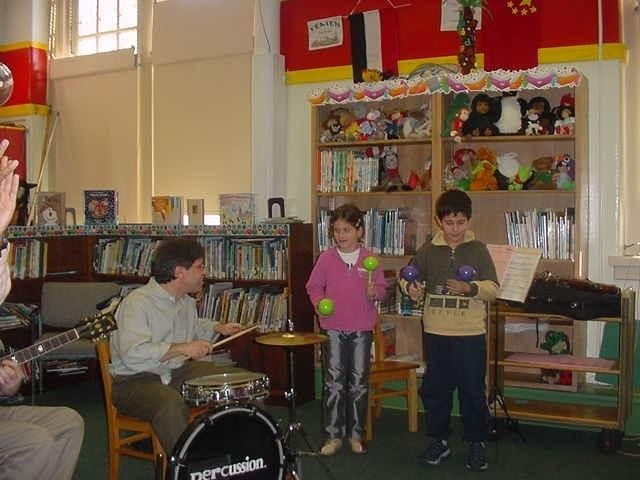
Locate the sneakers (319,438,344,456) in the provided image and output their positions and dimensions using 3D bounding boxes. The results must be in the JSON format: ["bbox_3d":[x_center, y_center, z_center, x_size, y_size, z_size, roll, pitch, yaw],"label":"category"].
[{"bbox_3d":[0.082,1.490,4.093,0.161,0.113,0.085,2,1,-35],"label":"sneakers"}]

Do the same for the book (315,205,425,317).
[{"bbox_3d":[0.412,0.182,4.456,0.921,0.931,0.342,1,-3,24],"label":"book"}]

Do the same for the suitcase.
[{"bbox_3d":[1.837,0.439,4.069,0.422,0.175,0.337,2,1,25],"label":"suitcase"}]

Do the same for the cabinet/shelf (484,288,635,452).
[{"bbox_3d":[1.842,1.031,4.319,1.062,1.136,0.600,3,6,26],"label":"cabinet/shelf"}]

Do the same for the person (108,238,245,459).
[{"bbox_3d":[-0.903,0.790,3.572,0.833,1.502,0.911,-1,-1,8],"label":"person"}]

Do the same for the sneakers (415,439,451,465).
[{"bbox_3d":[0.808,1.493,4.013,0.102,0.126,0.255,25,13,40],"label":"sneakers"}]

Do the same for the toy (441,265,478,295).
[{"bbox_3d":[0.940,0.269,3.753,0.156,0.219,0.111,7,-1,19],"label":"toy"}]

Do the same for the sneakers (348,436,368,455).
[{"bbox_3d":[0.282,1.503,4.114,0.077,0.064,0.146,2,-3,-15],"label":"sneakers"}]

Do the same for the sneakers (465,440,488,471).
[{"bbox_3d":[1.072,1.481,3.878,0.092,0.111,0.253,-1,-3,10],"label":"sneakers"}]
